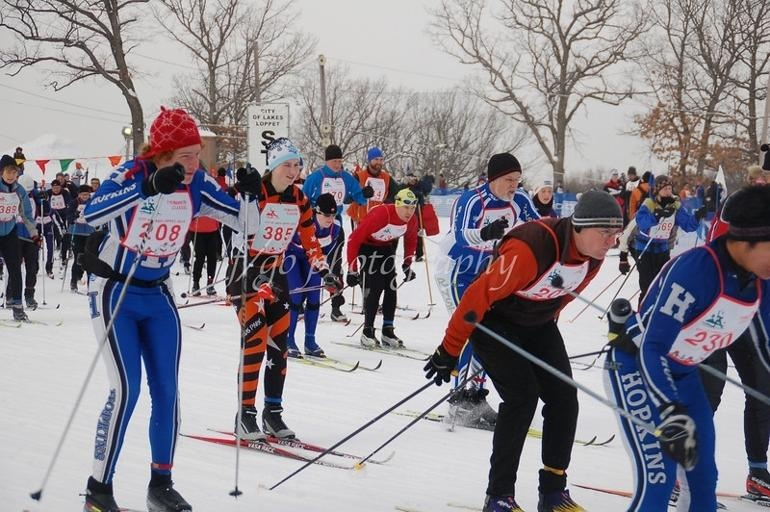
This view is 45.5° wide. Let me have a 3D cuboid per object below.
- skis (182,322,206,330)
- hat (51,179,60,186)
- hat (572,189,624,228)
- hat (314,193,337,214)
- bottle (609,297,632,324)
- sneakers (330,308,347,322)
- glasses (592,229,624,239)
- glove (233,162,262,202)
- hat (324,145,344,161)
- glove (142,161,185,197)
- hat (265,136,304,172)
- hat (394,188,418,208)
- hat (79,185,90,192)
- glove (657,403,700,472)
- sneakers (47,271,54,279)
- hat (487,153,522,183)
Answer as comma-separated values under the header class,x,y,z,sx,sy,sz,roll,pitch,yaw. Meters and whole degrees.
class,x,y,z,sx,sy,sz,roll,pitch,yaw
skis,-2.561,0.946,12.325,0.268,0.041,0.105,8,-8,12
hat,-6.187,-1.375,17.249,0.128,0.130,0.167,-3,-6,-22
hat,1.621,-0.341,7.039,0.307,0.238,0.311,-2,-2,23
hat,-0.715,-0.650,11.433,0.192,0.211,0.257,7,7,-42
bottle,1.756,0.414,6.894,0.134,0.188,0.183,-1,-25,4
sneakers,-0.690,0.874,13.653,0.265,0.170,0.126,-1,-2,11
glasses,1.678,-0.161,7.042,0.104,0.031,0.106,9,13,-17
glove,-1.138,-0.640,7.714,0.217,0.304,0.121,8,-22,5
hat,-0.758,-1.516,13.498,0.250,0.232,0.231,11,10,21
glove,-1.723,-0.555,7.100,0.292,0.125,0.224,-27,-20,20
hat,-0.989,-0.962,8.788,0.343,0.267,0.278,-19,9,27
hat,0.249,-0.727,11.344,0.201,0.214,0.247,-1,31,-40
hat,-5.161,-1.154,15.757,0.138,0.093,0.137,0,4,-11
glove,2.080,1.276,6.514,0.274,0.448,0.164,-13,-11,25
sneakers,-6.240,0.360,17.125,0.077,0.133,0.056,-27,-14,6
hat,1.138,-0.857,8.951,0.340,0.315,0.233,8,12,23
